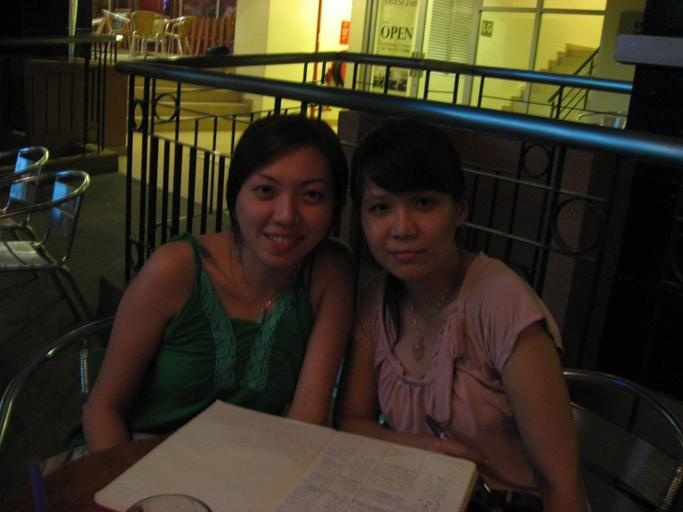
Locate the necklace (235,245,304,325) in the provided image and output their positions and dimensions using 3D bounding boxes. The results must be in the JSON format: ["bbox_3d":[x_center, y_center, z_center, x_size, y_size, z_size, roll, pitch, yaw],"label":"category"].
[{"bbox_3d":[-0.235,0.072,1.367,0.188,0.207,0.049,9,-5,-4],"label":"necklace"}]

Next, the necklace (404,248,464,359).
[{"bbox_3d":[0.238,0.111,1.322,0.145,0.281,0.062,1,-1,31],"label":"necklace"}]
